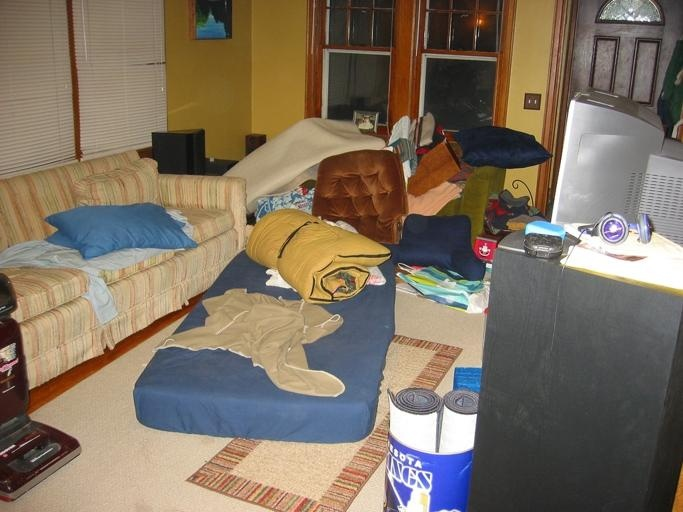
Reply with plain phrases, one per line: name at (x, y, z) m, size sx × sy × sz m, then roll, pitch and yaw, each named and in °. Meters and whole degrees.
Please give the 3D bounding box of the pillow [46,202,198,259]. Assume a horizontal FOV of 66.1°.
pillow at (-1.398, -0.170, 3.411) m, size 0.488 × 0.139 × 0.539 m, roll 32°, pitch 25°, yaw 34°

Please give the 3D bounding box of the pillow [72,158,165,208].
pillow at (-1.581, -0.501, 3.853) m, size 0.490 × 0.292 × 0.158 m, roll -22°, pitch 39°, yaw -41°

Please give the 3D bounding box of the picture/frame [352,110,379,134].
picture/frame at (0.269, -1.549, 6.055) m, size 0.288 × 0.224 × 0.276 m, roll 4°, pitch 22°, yaw 9°

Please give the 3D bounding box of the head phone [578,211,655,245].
head phone at (0.760, -0.068, 1.420) m, size 0.142 × 0.066 × 0.106 m, roll 3°, pitch 41°, yaw 26°
